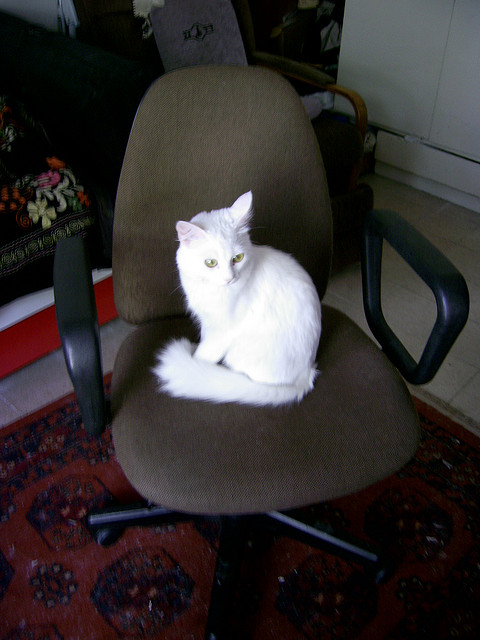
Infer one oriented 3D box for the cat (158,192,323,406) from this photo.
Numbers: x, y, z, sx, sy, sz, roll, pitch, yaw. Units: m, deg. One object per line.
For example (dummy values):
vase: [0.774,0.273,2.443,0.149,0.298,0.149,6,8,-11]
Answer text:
cat: [0.024,-0.024,1.005,0.211,0.429,0.376,-3,34,7]
